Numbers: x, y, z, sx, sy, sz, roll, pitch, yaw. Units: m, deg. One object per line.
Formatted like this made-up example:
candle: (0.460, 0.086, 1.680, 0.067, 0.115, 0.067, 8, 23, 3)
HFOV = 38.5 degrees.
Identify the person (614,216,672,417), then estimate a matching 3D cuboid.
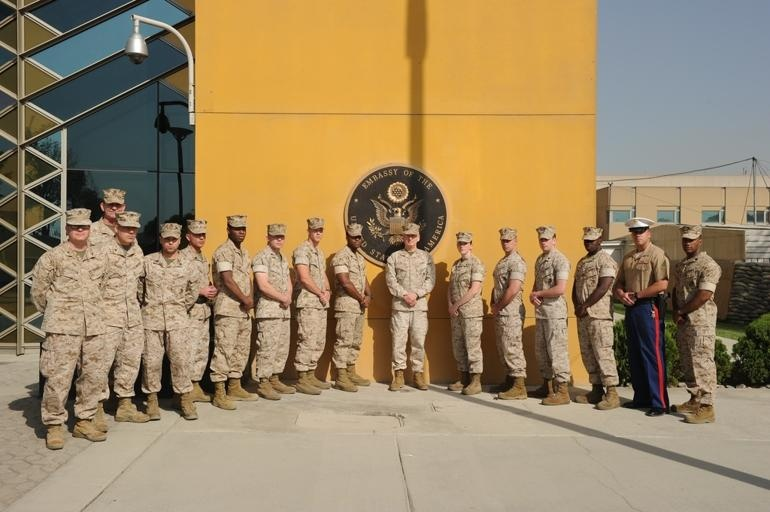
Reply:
person: (4.428, 1.011, 18.845, 0.855, 3.342, 0.511, -4, -4, 43)

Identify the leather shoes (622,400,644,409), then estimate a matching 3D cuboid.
leather shoes: (4.276, 2.543, 18.905, 0.423, 0.146, 0.140, -1, -2, 8)

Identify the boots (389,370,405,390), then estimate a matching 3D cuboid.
boots: (0.194, 2.212, 19.682, 0.319, 0.359, 0.223, 0, -3, -18)

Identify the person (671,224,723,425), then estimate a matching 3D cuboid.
person: (5.206, 1.122, 18.448, 0.808, 3.300, 0.558, -3, -3, 33)

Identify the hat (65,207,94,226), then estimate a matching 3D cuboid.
hat: (-4.851, -0.614, 17.346, 0.351, 0.279, 0.269, -1, -2, -7)

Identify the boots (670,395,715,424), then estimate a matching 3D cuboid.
boots: (5.176, 2.602, 18.439, 0.846, 0.477, 0.279, 3, 3, 15)

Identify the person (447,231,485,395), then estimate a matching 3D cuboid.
person: (1.424, 1.007, 19.606, 0.684, 2.874, 0.413, -2, -3, 17)

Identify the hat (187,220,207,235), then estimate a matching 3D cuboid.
hat: (-3.247, -0.492, 18.697, 0.251, 0.151, 0.311, 1, -3, -35)

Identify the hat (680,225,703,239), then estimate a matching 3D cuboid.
hat: (5.185, -0.403, 18.570, 0.245, 0.134, 0.305, 2, 0, 34)

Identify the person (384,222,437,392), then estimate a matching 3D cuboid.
person: (0.462, 0.914, 19.703, 0.787, 2.946, 0.421, 0, -3, -30)
